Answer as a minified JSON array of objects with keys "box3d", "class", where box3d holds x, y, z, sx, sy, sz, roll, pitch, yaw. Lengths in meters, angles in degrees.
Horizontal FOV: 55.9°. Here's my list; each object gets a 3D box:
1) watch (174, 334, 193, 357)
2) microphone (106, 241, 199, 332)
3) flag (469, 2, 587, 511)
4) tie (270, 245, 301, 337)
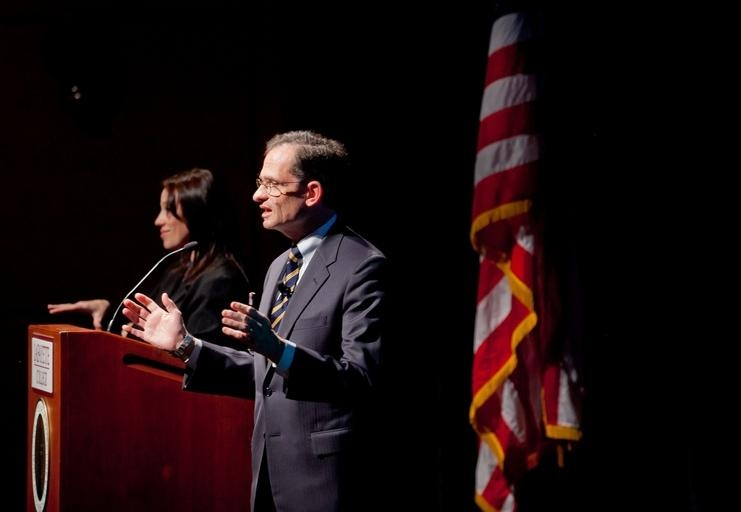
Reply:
[{"box3d":[-0.863,0.414,3.196,0.043,0.068,0.067,31,-60,2],"class":"watch"},{"box3d":[-1.279,0.169,4.072,0.758,0.080,0.123,-42,-37,-17],"class":"microphone"},{"box3d":[0.789,0.019,3.705,0.610,2.526,0.728,-4,-18,8],"class":"flag"},{"box3d":[-0.417,0.147,3.388,0.083,0.594,0.071,-33,-65,29],"class":"tie"}]
